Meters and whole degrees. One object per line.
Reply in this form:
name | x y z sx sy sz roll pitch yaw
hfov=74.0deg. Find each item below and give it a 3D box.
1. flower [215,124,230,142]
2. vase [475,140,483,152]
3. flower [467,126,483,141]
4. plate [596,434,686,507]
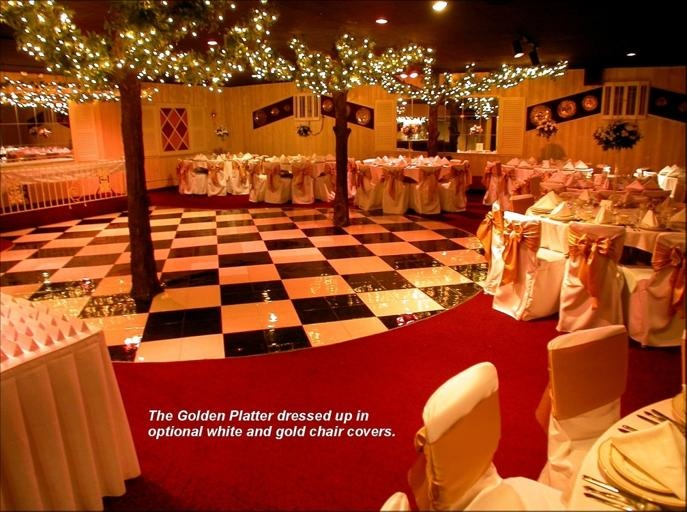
flower | -3.946 -3.888 14.684 0.382 0.417 0.399 3 13 10
vase | 3.714 -2.955 12.436 0.237 0.294 0.249 2 5 17
flower | 3.693 -3.363 12.683 0.364 0.197 0.339 -2 25 14
plate | 1.093 0.743 1.663 0.269 0.192 0.195 8 16 34
